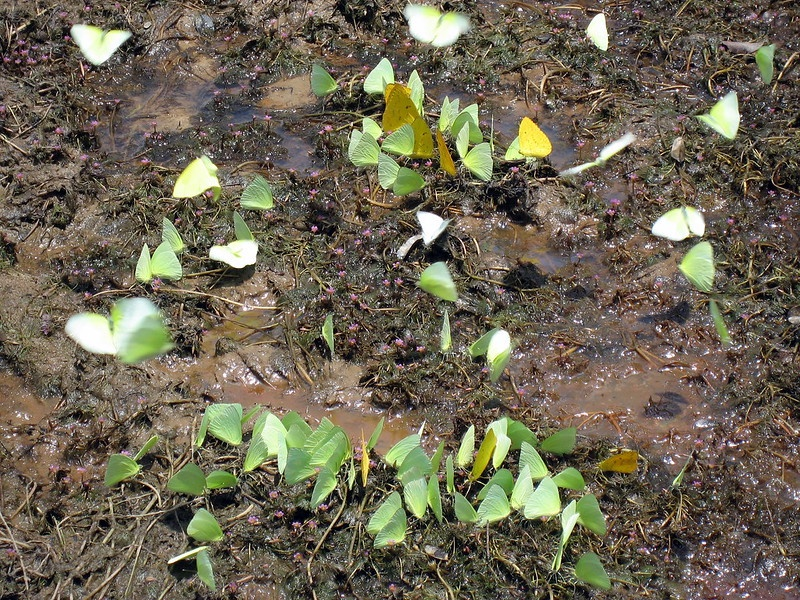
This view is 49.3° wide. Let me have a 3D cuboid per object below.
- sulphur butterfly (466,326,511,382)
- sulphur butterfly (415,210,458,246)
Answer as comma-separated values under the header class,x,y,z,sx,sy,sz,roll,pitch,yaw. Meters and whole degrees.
class,x,y,z,sx,sy,sz,roll,pitch,yaw
sulphur butterfly,0.940,0.553,8.809,0.456,0.194,0.505,39,112,42
sulphur butterfly,0.363,-0.758,9.105,0.374,0.146,0.355,21,99,59
